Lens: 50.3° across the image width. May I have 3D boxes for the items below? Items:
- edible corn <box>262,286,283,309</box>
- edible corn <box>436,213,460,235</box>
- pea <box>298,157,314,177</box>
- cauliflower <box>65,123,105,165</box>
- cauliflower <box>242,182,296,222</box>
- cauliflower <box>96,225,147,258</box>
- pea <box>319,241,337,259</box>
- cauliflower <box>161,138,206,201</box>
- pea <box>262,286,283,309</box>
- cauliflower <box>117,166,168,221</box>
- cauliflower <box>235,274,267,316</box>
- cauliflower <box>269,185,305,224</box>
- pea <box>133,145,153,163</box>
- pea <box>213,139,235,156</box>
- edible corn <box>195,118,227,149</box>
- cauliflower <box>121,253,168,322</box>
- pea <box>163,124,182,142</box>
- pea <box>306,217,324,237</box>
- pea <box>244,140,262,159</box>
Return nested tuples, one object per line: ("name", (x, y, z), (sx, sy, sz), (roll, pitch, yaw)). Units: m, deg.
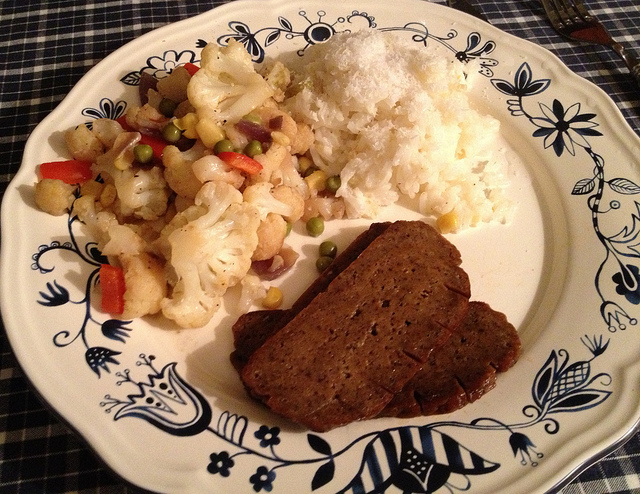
("edible corn", (-0.396, 0.421, 5.767), (0.143, 0.155, 0.211), (19, 54, -1))
("edible corn", (1.134, -0.214, 6.020), (0.196, 0.104, 0.169), (-22, 84, -1))
("pea", (-0.130, -0.736, 6.312), (0.091, 0.137, 0.142), (5, 113, 20))
("cauliflower", (-2.051, -0.891, 5.903), (0.385, 0.217, 0.312), (12, 85, 2))
("cauliflower", (-0.446, -0.417, 5.762), (0.292, 0.392, 0.318), (-17, 116, -37))
("cauliflower", (-1.609, -0.088, 5.589), (0.397, 0.308, 0.242), (14, 111, 39))
("pea", (0.070, 0.016, 5.930), (0.154, 0.093, 0.136), (3, 84, 1))
("cauliflower", (-1.141, -0.642, 5.646), (0.410, 0.117, 0.437), (29, 92, 12))
("pea", (-0.408, 0.440, 5.778), (0.140, 0.158, 0.208), (18, 62, -3))
("cauliflower", (-1.493, -0.501, 5.694), (0.341, 0.242, 0.430), (-18, 115, -32))
("cauliflower", (-0.545, 0.346, 5.709), (0.350, 0.101, 0.259), (-43, 53, 19))
("cauliflower", (-0.259, -0.407, 5.864), (0.296, 0.163, 0.300), (46, 60, 2))
("pea", (-1.492, -0.786, 5.701), (0.156, 0.072, 0.136), (3, 84, 1))
("pea", (-0.800, -0.831, 5.642), (0.122, 0.148, 0.131), (35, 69, -2))
("edible corn", (-0.919, -0.939, 5.658), (0.235, 0.219, 0.077), (62, 37, -20))
("cauliflower", (-1.409, 0.295, 5.472), (0.341, 0.223, 0.522), (-3, 84, 1))
("pea", (-1.240, -0.970, 5.820), (0.127, 0.136, 0.164), (-5, 102, 17))
("pea", (-0.030, -0.205, 6.055), (0.157, 0.145, 0.152), (45, 103, 5))
("pea", (-0.562, -0.823, 5.794), (0.137, 0.105, 0.115), (-28, 54, 13))
